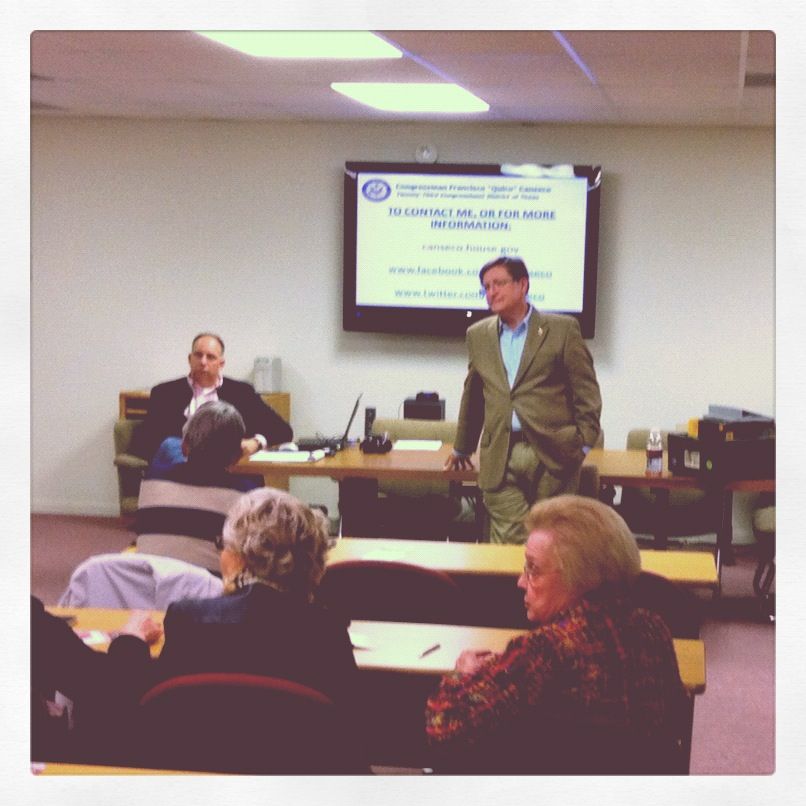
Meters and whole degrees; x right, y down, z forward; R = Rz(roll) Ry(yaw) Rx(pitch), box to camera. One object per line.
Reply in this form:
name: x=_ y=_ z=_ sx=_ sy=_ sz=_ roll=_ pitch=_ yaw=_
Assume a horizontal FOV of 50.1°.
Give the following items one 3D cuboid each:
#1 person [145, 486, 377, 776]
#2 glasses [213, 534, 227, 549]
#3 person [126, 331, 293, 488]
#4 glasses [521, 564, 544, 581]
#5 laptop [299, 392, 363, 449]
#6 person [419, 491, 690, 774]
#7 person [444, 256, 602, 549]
person: x=-0.447 y=0.734 z=2.702 sx=0.608 sy=0.954 sz=0.478 roll=5 pitch=20 yaw=7
glasses: x=-0.640 y=0.480 z=2.983 sx=0.030 sy=0.019 sz=0.048 roll=1 pitch=23 yaw=1
person: x=-0.724 y=0.180 z=3.157 sx=0.563 sy=0.892 sz=0.423 roll=-2 pitch=9 yaw=-17
glasses: x=0.434 y=0.561 z=2.855 sx=0.051 sy=0.027 sz=0.058 roll=2 pitch=-19 yaw=13
laptop: x=-0.273 y=0.076 z=3.287 sx=0.229 sy=0.241 sz=0.153 roll=5 pitch=-1 yaw=-1
person: x=0.627 y=0.744 z=3.022 sx=0.714 sy=1.229 sz=0.811 roll=3 pitch=3 yaw=30
person: x=0.418 y=0.167 z=3.090 sx=0.466 sy=1.398 sz=0.305 roll=1 pitch=21 yaw=16
